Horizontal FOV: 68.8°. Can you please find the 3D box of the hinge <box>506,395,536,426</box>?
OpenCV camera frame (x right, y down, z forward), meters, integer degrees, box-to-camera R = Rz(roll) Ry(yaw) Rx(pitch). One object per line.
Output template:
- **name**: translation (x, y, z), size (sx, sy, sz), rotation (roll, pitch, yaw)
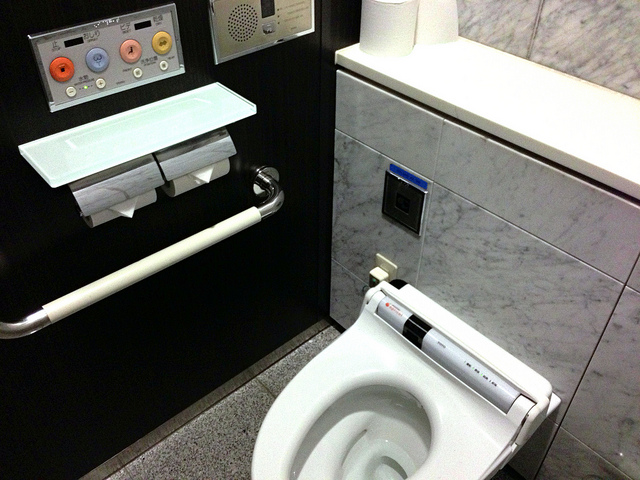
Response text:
- **hinge**: translation (0.488, 0.413, 1.144), size (0.040, 0.037, 0.059), rotation (36, 62, 28)
